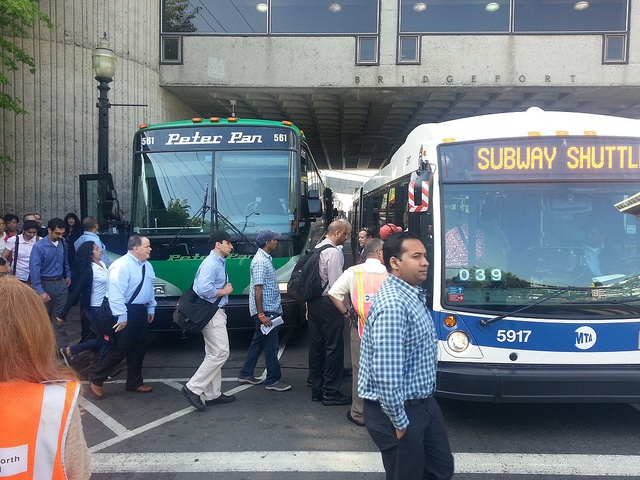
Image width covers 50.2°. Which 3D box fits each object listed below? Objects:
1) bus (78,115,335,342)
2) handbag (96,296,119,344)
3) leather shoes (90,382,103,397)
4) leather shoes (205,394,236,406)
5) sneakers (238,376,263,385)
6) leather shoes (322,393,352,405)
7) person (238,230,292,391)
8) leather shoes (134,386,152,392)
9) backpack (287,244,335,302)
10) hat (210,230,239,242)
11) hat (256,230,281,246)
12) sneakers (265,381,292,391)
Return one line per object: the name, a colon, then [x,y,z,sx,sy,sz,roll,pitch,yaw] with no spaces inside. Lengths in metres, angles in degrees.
bus: [-1.826,-0.625,11.598,2.474,1.936,4.701,-1,-3,3]
handbag: [-3.002,1.136,9.541,0.328,0.526,0.195,24,14,39]
leather shoes: [-3.202,2.106,9.751,0.152,0.230,0.258,-6,15,-21]
leather shoes: [-1.395,2.185,9.513,0.405,0.155,0.143,-2,3,-18]
sneakers: [-1.031,2.067,10.112,0.356,0.136,0.129,2,-2,-6]
leather shoes: [0.228,2.194,9.538,0.400,0.174,0.161,2,-2,-11]
person: [-0.850,1.019,9.899,0.753,2.234,0.791,-3,14,-11]
leather shoes: [-2.549,2.139,9.864,0.250,0.101,0.090,-1,5,0]
backpack: [-0.161,0.475,9.552,0.603,0.755,0.402,-1,14,0]
hat: [-1.352,-0.050,9.623,0.397,0.151,0.246,2,4,-15]
hat: [-0.739,-0.038,10.054,0.361,0.191,0.226,-13,23,-10]
sneakers: [-0.609,2.109,9.923,0.298,0.114,0.145,0,-1,0]
